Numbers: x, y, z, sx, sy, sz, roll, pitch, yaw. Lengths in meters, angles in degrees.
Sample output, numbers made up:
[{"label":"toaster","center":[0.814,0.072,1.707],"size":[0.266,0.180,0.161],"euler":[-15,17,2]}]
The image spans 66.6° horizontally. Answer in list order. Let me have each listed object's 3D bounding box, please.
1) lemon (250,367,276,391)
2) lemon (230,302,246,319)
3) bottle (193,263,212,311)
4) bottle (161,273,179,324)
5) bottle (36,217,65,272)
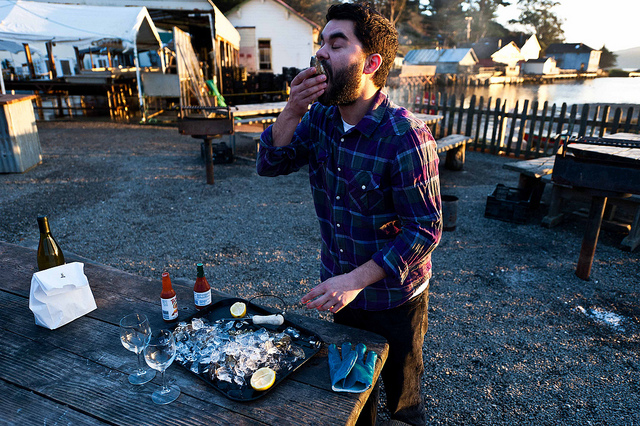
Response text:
[{"label":"lemon","center":[-0.483,1.393,4.104],"size":[0.200,0.133,0.131],"euler":[-1,18,-9]},{"label":"lemon","center":[-0.753,0.891,4.501],"size":[0.111,0.079,0.121],"euler":[9,51,8]},{"label":"bottle","center":[-1.107,0.657,4.563],"size":[0.172,0.460,0.209],"euler":[-3,18,-14]},{"label":"bottle","center":[-1.382,0.753,4.473],"size":[0.148,0.450,0.199],"euler":[-5,19,-20]},{"label":"bottle","center":[-2.570,0.280,4.614],"size":[0.224,0.576,0.375],"euler":[-10,21,-31]}]
